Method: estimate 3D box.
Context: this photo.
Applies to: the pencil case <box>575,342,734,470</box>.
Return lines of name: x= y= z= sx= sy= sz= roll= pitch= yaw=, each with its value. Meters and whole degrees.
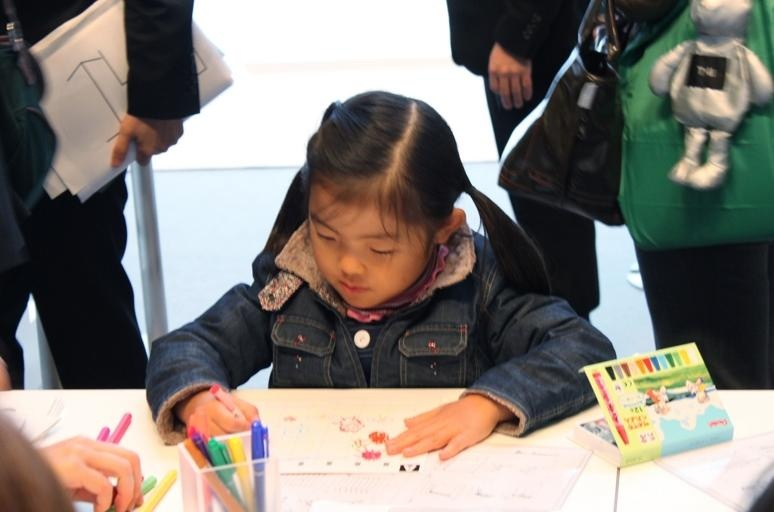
pencil case: x=0.507 y=0.277 z=1.231 sx=0.249 sy=0.152 sz=0.149 roll=-9 pitch=11 yaw=-16

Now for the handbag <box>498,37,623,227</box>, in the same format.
handbag: x=0.454 y=-0.350 z=1.711 sx=0.354 sy=0.471 sz=0.203 roll=30 pitch=20 yaw=11

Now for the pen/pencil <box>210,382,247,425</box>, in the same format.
pen/pencil: x=-0.317 y=0.295 z=1.287 sx=0.016 sy=0.069 sz=0.020 roll=-36 pitch=-11 yaw=-14

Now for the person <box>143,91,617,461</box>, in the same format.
person: x=0.006 y=0.072 z=1.449 sx=0.600 sy=1.089 sz=0.654 roll=-2 pitch=22 yaw=-1
